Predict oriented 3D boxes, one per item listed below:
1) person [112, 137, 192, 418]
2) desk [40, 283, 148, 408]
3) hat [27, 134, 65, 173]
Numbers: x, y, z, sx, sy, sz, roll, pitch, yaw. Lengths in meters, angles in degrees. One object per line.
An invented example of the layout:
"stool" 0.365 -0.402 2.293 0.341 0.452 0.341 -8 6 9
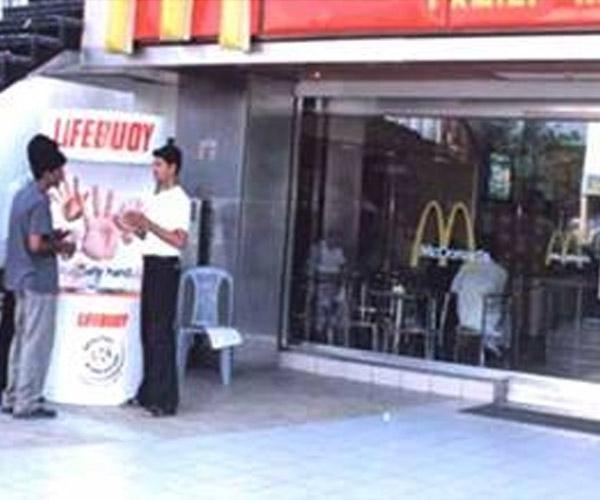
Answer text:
"person" -1.119 0.216 5.299 0.476 2.082 0.533 2 0 -13
"desk" -1.636 0.799 5.741 0.840 0.946 0.845 0 -3 27
"hat" -1.878 -0.709 5.087 0.224 0.270 0.294 -7 -30 -22
